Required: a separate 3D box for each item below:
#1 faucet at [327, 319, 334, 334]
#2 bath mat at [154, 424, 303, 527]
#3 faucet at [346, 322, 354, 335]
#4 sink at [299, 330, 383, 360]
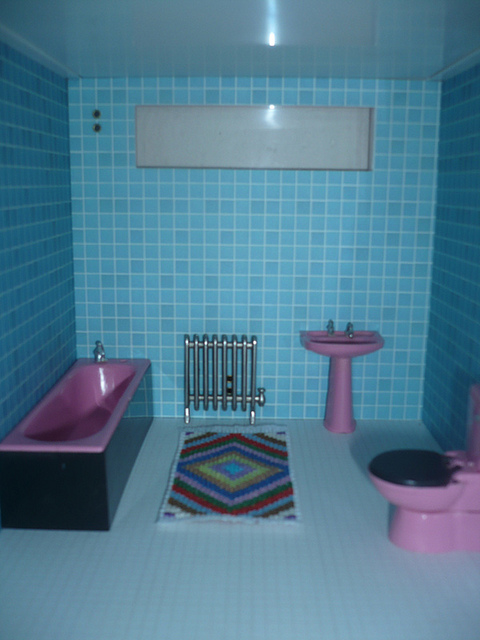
[{"bbox_3d":[0.660,0.050,3.516,0.045,0.095,0.110,2,9,11],"label":"faucet"},{"bbox_3d":[-0.044,0.927,3.016,0.733,0.028,1.396,1,6,0],"label":"bath mat"},{"bbox_3d":[0.781,0.072,3.446,0.028,0.099,0.046,0,-25,2],"label":"faucet"},{"bbox_3d":[0.715,0.178,3.427,0.587,0.197,0.423,2,10,7],"label":"sink"}]
